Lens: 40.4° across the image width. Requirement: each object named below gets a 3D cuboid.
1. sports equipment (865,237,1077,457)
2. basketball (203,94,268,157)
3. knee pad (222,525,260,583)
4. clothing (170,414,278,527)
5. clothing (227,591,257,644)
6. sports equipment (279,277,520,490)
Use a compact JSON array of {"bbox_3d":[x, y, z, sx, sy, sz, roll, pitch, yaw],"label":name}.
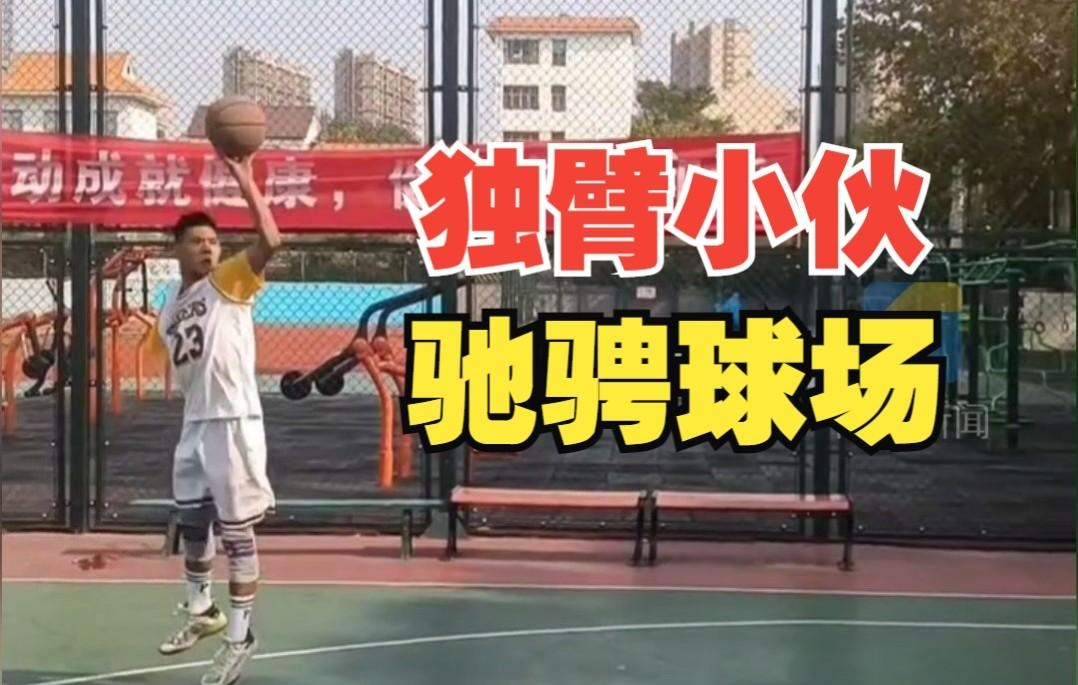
[{"bbox_3d":[4.907,0.044,15.336,2.951,2.274,0.991,-3,5,-35],"label":"sports equipment"},{"bbox_3d":[-2.617,-1.857,12.693,0.539,0.552,0.542,-19,12,-36],"label":"basketball"},{"bbox_3d":[-2.475,1.745,12.094,0.271,0.481,0.179,-2,4,-20],"label":"knee pad"},{"bbox_3d":[-2.682,1.046,12.373,0.953,0.868,0.608,4,8,29],"label":"clothing"},{"bbox_3d":[-2.478,2.265,12.107,0.219,0.399,0.160,-1,4,-6],"label":"clothing"},{"bbox_3d":[-1.647,0.450,15.098,2.049,2.199,0.387,1,4,17],"label":"sports equipment"}]
